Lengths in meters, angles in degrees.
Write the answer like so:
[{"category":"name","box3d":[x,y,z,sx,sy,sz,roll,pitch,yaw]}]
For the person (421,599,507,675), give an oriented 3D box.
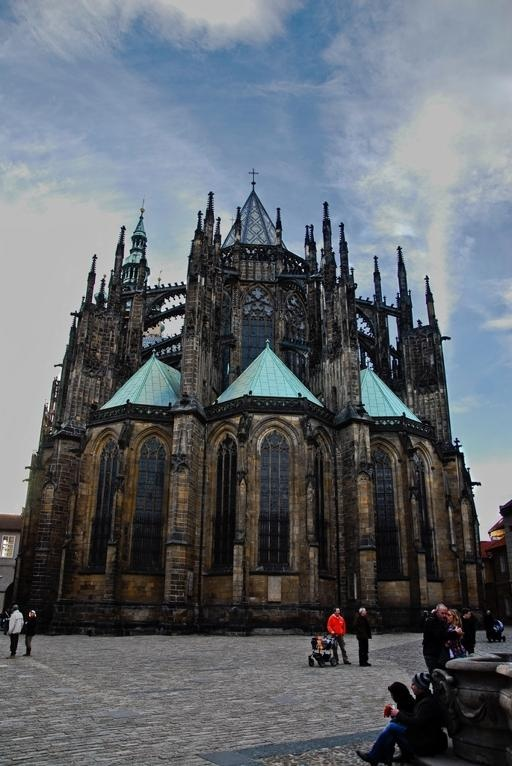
[{"category":"person","box3d":[2.224,3.036,6.499,0.469,0.695,1.009,-4,-19,15]}]
